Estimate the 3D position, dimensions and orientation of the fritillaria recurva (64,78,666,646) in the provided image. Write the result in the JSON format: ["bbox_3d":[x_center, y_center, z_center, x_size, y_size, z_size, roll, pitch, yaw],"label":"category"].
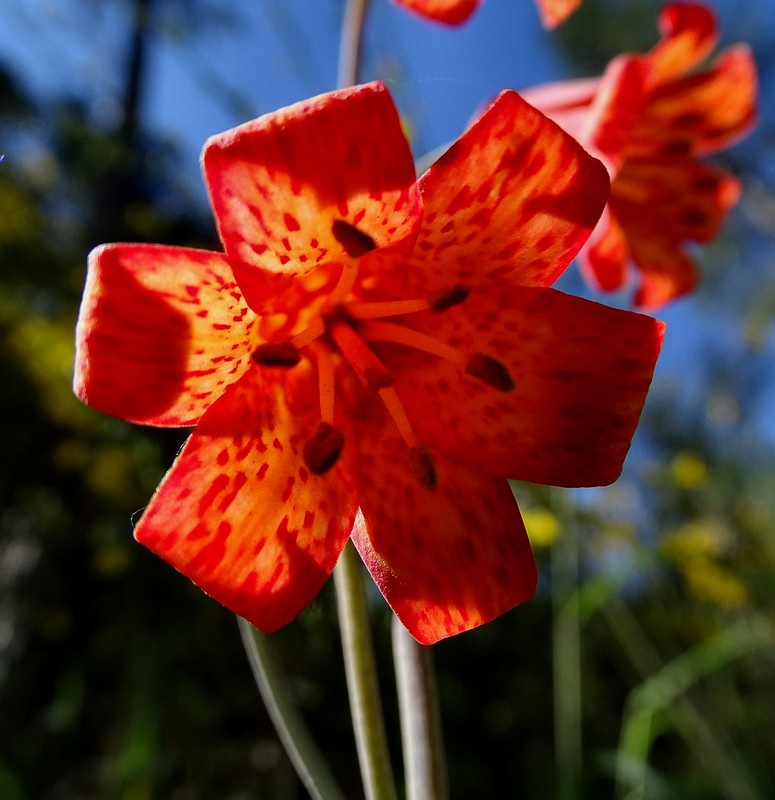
[{"bbox_3d":[-0.052,-0.050,0.959,0.503,0.195,0.473,-46,109,2],"label":"fritillaria recurva"}]
